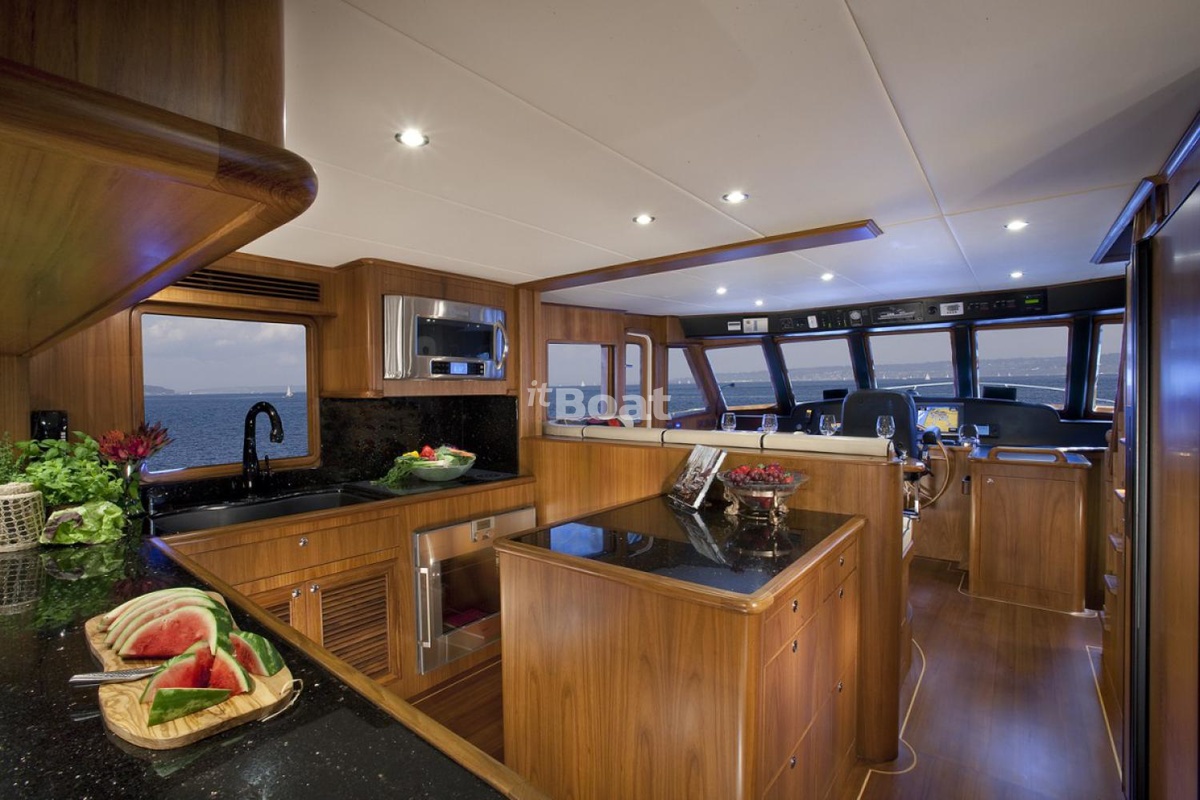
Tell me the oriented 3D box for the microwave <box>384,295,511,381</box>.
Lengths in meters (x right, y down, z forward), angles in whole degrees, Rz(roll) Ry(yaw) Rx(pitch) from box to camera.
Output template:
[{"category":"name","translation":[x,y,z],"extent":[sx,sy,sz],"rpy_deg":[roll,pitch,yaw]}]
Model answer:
[{"category":"microwave","translation":[-0.997,-0.407,4.484],"extent":[0.428,0.418,0.891],"rpy_deg":[-3,-4,27]}]

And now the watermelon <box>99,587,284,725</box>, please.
[{"category":"watermelon","translation":[-1.092,0.672,2.029],"extent":[0.395,0.158,0.649],"rpy_deg":[-11,19,-30]}]

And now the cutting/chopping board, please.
[{"category":"cutting/chopping board","translation":[-1.136,0.701,1.960],"extent":[0.604,0.299,0.321],"rpy_deg":[3,10,26]}]

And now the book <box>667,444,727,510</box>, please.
[{"category":"book","translation":[0.509,0.389,3.761],"extent":[0.069,0.298,0.283],"rpy_deg":[33,-3,-22]}]

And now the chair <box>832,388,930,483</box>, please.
[{"category":"chair","translation":[2.175,0.186,5.602],"extent":[0.572,0.538,0.365],"rpy_deg":[7,12,44]}]

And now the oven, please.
[{"category":"oven","translation":[-0.848,1.103,4.547],"extent":[0.489,0.834,0.988],"rpy_deg":[6,6,36]}]
